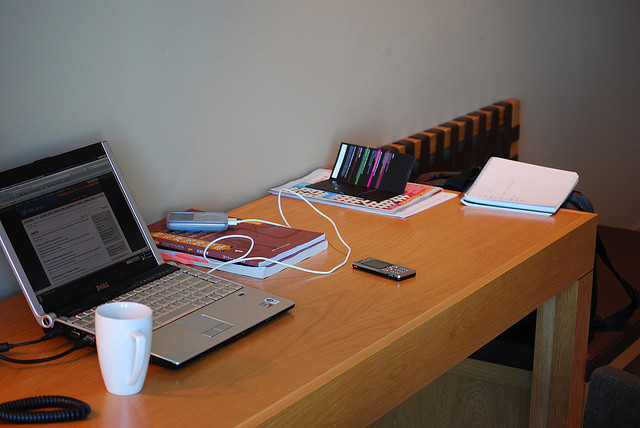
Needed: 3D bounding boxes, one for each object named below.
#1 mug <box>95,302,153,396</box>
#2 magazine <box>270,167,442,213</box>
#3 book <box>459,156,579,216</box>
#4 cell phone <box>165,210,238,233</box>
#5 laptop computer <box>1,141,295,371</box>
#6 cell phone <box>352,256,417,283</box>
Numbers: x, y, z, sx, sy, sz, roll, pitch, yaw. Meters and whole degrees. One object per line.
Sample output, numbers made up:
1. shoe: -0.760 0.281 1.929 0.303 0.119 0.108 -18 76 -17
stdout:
1. mug: -0.284 0.209 0.654 0.092 0.109 0.135 1 2 -38
2. magazine: 0.137 -0.064 1.353 0.303 0.013 0.196 14 25 33
3. book: 0.576 -0.076 1.267 0.237 0.050 0.232 11 32 26
4. cell phone: -0.317 0.010 1.117 0.141 0.019 0.070 3 14 1
5. laptop computer: -0.360 0.092 0.885 0.505 0.266 0.488 15 23 30
6. cell phone: 0.143 0.113 0.965 0.103 0.013 0.055 13 21 34
